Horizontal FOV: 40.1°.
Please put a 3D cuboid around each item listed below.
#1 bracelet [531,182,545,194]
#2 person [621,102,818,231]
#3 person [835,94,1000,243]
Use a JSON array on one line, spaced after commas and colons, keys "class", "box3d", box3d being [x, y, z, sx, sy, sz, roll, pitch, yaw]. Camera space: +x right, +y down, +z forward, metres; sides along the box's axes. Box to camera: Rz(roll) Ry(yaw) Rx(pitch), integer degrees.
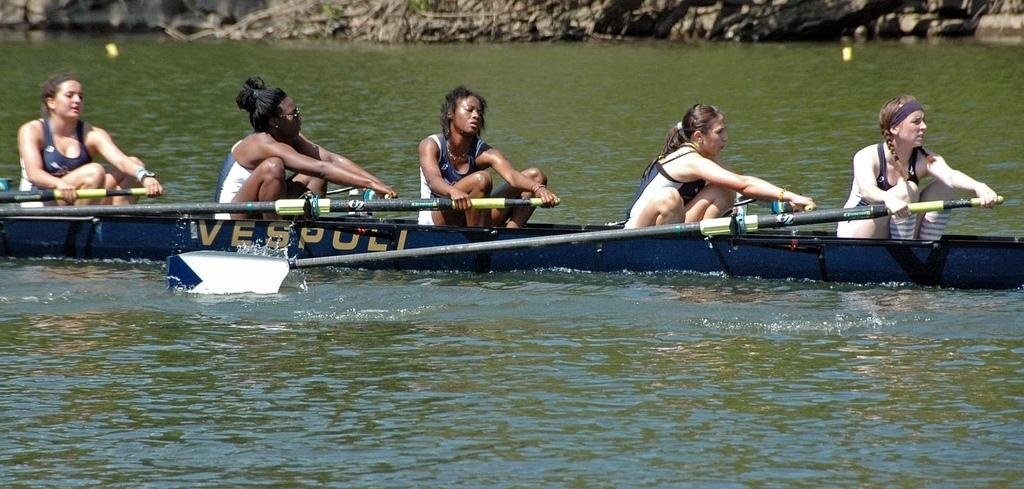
[{"class": "bracelet", "box3d": [0.445, -0.871, 21.211, 0.177, 0.052, 0.164, -17, -11, -21]}, {"class": "person", "box3d": [2.873, -1.160, 20.745, 2.241, 1.830, 0.583, 1, 12, 3]}, {"class": "person", "box3d": [5.810, -1.117, 20.414, 1.925, 2.113, 0.720, 2, 12, 7]}]
